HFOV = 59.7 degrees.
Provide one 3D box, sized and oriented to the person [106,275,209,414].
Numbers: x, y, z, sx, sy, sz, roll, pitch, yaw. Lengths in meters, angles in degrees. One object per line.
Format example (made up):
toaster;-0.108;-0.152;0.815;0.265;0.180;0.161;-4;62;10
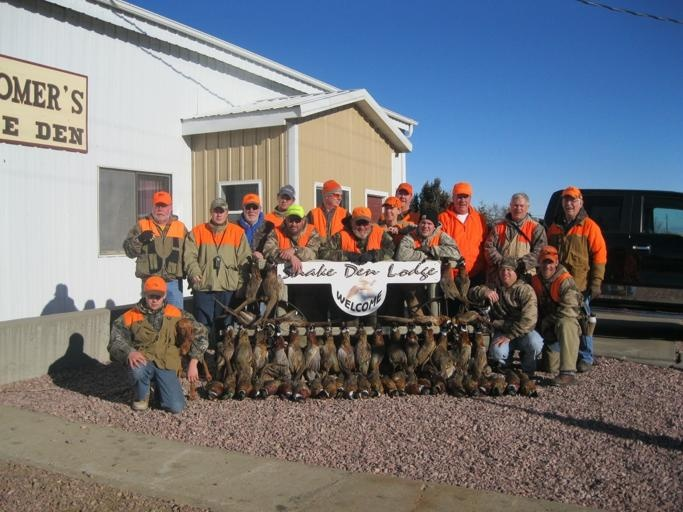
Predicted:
person;-2.153;1.000;6.979;0.966;1.514;0.688;3;7;23

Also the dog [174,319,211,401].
dog;-1.778;1.175;7.066;0.305;1.078;0.433;0;0;1

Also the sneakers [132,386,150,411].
sneakers;-2.315;1.659;6.848;0.189;0.253;0.220;-3;8;-25
